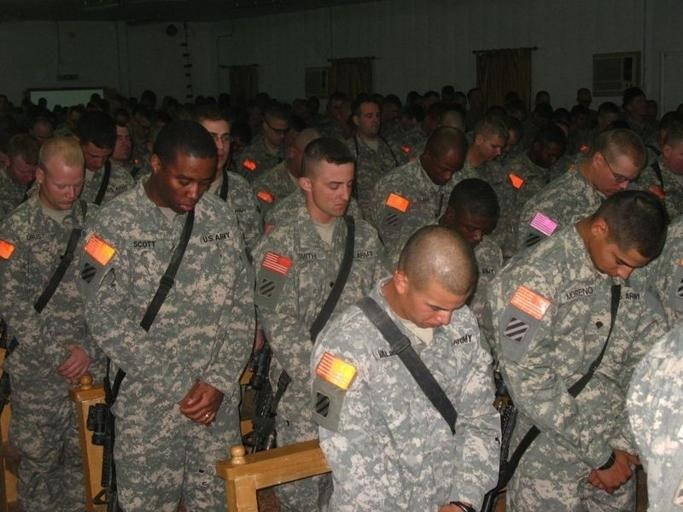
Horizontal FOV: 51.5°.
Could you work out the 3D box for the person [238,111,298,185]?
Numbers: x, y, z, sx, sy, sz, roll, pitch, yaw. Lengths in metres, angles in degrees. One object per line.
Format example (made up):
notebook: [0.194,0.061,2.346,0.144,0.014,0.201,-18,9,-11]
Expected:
person: [-0.815,-1.381,8.303,0.408,0.687,0.854,32,36,31]

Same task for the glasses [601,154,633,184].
glasses: [2.080,-0.636,5.331,0.058,0.179,0.178,-39,-21,35]

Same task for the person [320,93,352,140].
person: [-0.150,-2.430,11.968,0.417,0.563,0.894,11,13,-1]

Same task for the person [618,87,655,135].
person: [4.519,-2.244,10.869,0.493,0.700,0.411,-14,8,-8]
